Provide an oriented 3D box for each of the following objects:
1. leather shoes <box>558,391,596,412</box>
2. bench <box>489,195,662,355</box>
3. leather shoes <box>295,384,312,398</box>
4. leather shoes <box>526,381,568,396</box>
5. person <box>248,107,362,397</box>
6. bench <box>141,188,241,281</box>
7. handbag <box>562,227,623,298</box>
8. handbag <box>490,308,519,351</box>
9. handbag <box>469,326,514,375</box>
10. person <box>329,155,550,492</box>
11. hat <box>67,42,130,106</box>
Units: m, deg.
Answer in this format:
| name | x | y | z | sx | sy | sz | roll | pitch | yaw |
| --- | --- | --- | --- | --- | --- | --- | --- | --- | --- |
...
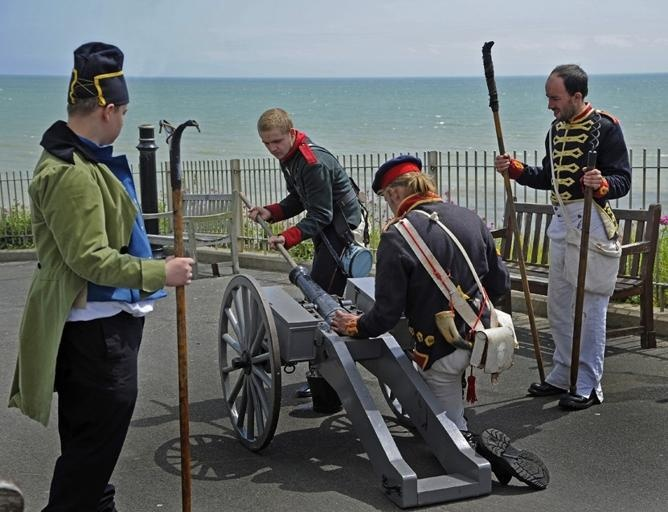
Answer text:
| name | x | y | z | sx | sy | sz | roll | pitch | yaw |
| --- | --- | --- | --- | --- | --- | --- | --- | --- | --- |
| leather shoes | 1.847 | 1.089 | 5.683 | 0.280 | 0.108 | 0.116 | -6 | 15 | -29 |
| bench | 2.098 | 0.203 | 6.412 | 0.621 | 1.079 | 1.439 | -5 | 7 | -36 |
| leather shoes | -0.243 | 1.105 | 6.106 | 0.144 | 0.073 | 0.241 | 2 | 7 | 3 |
| leather shoes | 1.716 | 1.069 | 6.013 | 0.310 | 0.124 | 0.115 | 4 | 0 | -4 |
| person | -0.229 | -0.074 | 6.022 | 1.045 | 2.101 | 1.071 | 4 | 11 | 20 |
| bench | -2.294 | -0.355 | 11.564 | 0.769 | 1.185 | 1.925 | -7 | 8 | -36 |
| handbag | 1.999 | 0.055 | 5.708 | 0.505 | 0.466 | 0.435 | 2 | 4 | 32 |
| handbag | 1.032 | 0.438 | 4.718 | 0.092 | 0.287 | 0.216 | -15 | -14 | 35 |
| handbag | 0.950 | 0.555 | 4.517 | 0.324 | 0.320 | 0.169 | -6 | 10 | -40 |
| person | 0.706 | 0.377 | 4.688 | 1.094 | 1.978 | 0.600 | 1 | 11 | 13 |
| hat | -1.182 | -0.909 | 3.797 | 0.278 | 0.320 | 0.318 | 3 | 18 | 6 |
